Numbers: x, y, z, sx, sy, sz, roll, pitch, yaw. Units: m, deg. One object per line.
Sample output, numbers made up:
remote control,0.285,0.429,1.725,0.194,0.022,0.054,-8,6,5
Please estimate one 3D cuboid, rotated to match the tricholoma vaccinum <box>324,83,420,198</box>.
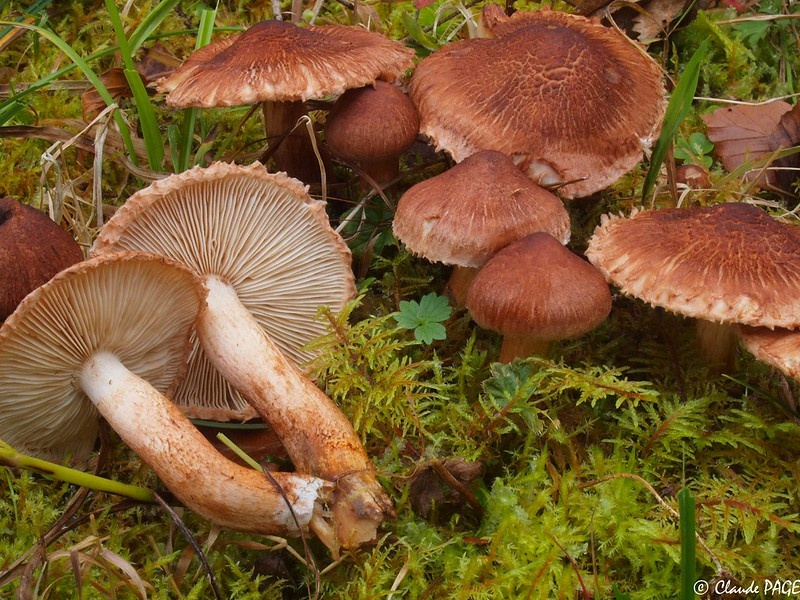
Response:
tricholoma vaccinum,-0.143,-0.815,3.697,0.404,0.579,0.385,-29,61,-17
